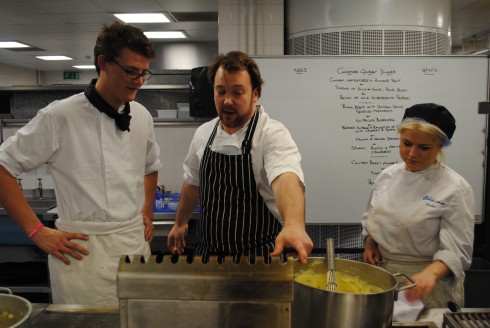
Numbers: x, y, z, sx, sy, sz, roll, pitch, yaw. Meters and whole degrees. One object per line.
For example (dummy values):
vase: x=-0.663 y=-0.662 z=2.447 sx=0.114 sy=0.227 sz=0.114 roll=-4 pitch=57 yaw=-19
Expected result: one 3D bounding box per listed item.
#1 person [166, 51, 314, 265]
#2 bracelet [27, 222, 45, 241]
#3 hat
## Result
person: x=0.030 y=0.007 z=2.994 sx=0.515 sy=1.458 sz=1.363 roll=-6 pitch=10 yaw=-36
bracelet: x=-1.366 y=0.440 z=3.043 sx=0.102 sy=0.027 sz=0.102 roll=-38 pitch=12 yaw=0
hat: x=1.272 y=-0.326 z=3.155 sx=0.316 sy=0.155 sz=0.225 roll=14 pitch=25 yaw=-25
